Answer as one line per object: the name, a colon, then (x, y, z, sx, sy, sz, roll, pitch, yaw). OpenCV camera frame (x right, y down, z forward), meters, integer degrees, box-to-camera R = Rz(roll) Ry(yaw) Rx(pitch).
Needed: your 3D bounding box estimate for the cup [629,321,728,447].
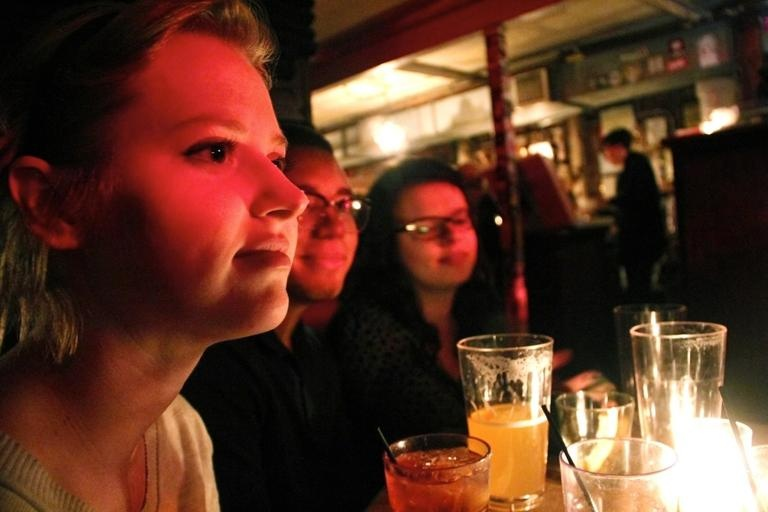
cup: (0.698, 0.311, 1.742, 0.204, 0.275, 0.132, -5, -5, 23)

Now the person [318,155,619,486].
person: (0.088, 0.118, 2.662, 1.074, 1.125, 0.769, -3, 11, 34)

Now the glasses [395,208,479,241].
glasses: (0.163, -0.097, 2.411, 0.239, 0.092, 0.041, -3, -4, -6)
